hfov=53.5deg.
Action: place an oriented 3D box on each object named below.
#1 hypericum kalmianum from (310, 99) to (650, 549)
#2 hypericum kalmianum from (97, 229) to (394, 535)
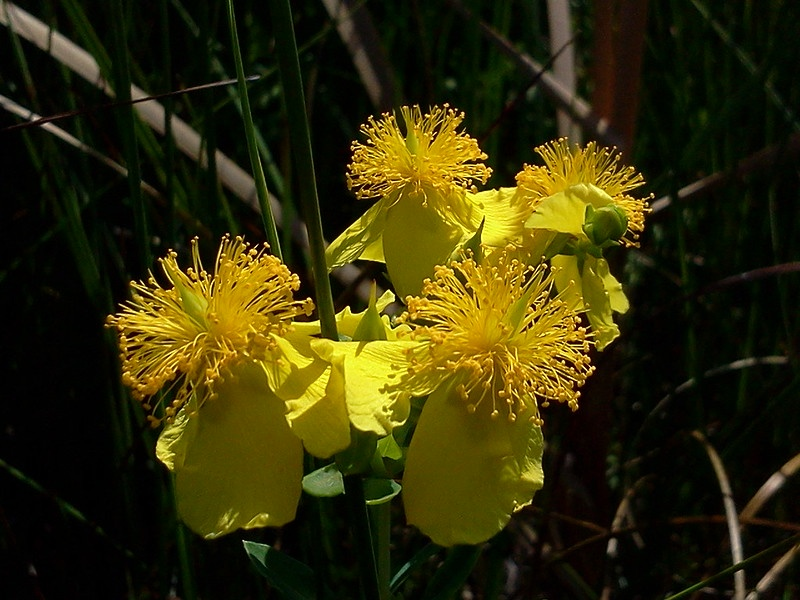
[{"bbox_3d":[0.070,0.058,1.105,0.476,0.430,0.562,3,27,15],"label":"hypericum kalmianum"},{"bbox_3d":[-0.209,0.081,0.976,0.245,0.186,0.340,-27,55,-15],"label":"hypericum kalmianum"}]
